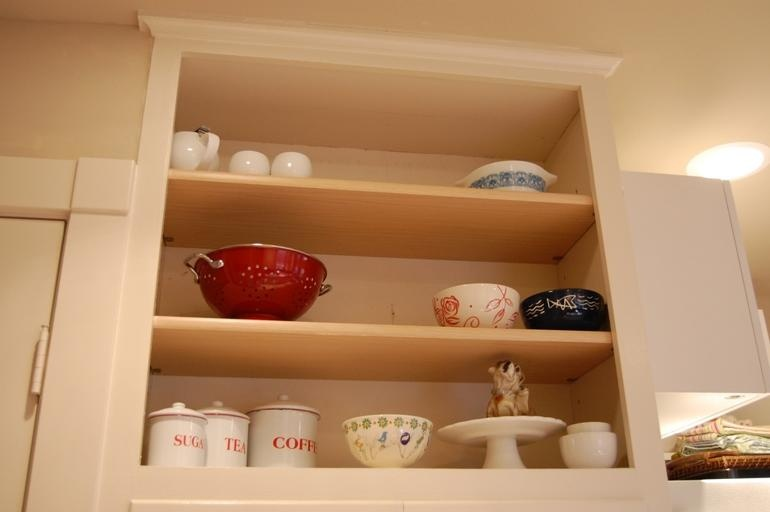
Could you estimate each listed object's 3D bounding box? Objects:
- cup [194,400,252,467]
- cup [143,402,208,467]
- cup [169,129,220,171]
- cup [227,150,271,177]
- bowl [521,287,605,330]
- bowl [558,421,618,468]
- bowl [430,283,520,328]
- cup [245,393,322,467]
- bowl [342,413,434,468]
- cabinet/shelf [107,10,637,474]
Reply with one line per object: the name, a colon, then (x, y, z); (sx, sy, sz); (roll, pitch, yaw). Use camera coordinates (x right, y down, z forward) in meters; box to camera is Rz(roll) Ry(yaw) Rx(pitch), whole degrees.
cup: (-0.402, 0.469, 1.594); (0.148, 0.155, 0.150); (-1, -20, 0)
cup: (-0.502, 0.457, 1.532); (0.155, 0.163, 0.156); (0, -20, 0)
cup: (-0.589, -0.305, 1.832); (0.101, 0.114, 0.152); (10, -16, -44)
cup: (-0.402, -0.254, 1.781); (0.095, 0.075, 0.102); (0, 0, 0)
bowl: (0.531, 0.173, 1.797); (0.244, 0.129, 0.149); (-5, -19, 11)
bowl: (0.543, 0.510, 1.597); (0.122, 0.092, 0.133); (0, -26, 0)
bowl: (0.273, 0.143, 1.792); (0.241, 0.170, 0.126); (3, -19, -16)
cup: (-0.289, 0.496, 1.689); (0.170, 0.165, 0.172); (0, -23, 0)
bowl: (-0.005, 0.536, 1.709); (0.289, 0.144, 0.293); (-1, -18, 0)
cabinet/shelf: (0.000, 0.041, 1.856); (1.448, 1.293, 0.476); (3, -20, -9)
